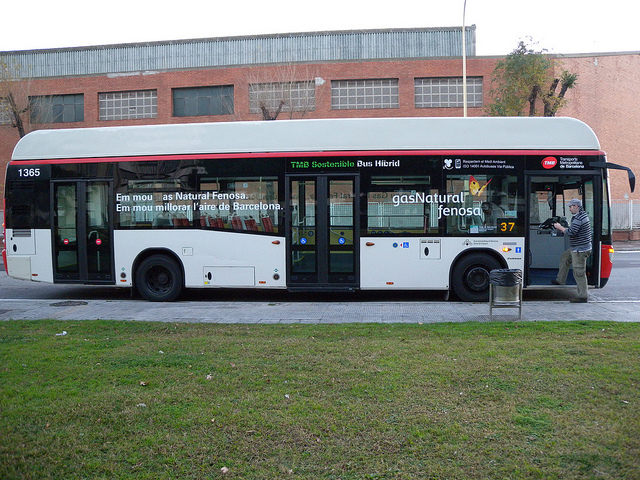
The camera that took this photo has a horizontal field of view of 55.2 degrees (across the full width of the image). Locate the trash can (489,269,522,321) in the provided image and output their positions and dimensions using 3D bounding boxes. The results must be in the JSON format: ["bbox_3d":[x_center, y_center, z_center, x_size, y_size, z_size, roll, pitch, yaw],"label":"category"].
[{"bbox_3d":[3.702,1.069,12.100,0.828,1.281,0.797,-1,1,7],"label":"trash can"}]
